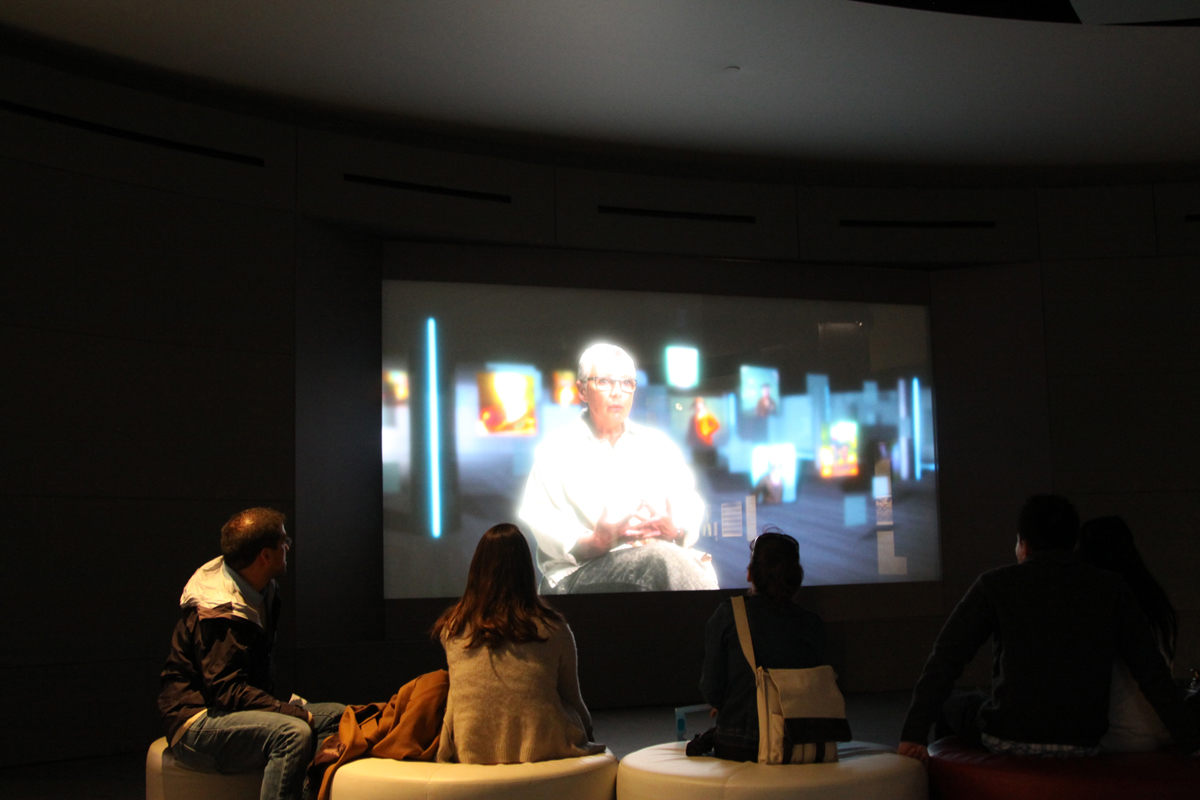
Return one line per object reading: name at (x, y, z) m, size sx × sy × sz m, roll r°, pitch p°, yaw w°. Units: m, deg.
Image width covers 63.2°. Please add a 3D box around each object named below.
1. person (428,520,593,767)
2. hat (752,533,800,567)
person at (-0.398, 1.211, 4.753) m, size 0.775 × 1.090 × 0.934 m, roll -6°, pitch -19°, yaw 18°
hat at (0.827, 0.678, 4.547) m, size 0.176 × 0.173 × 0.134 m, roll 14°, pitch 13°, yaw 36°
